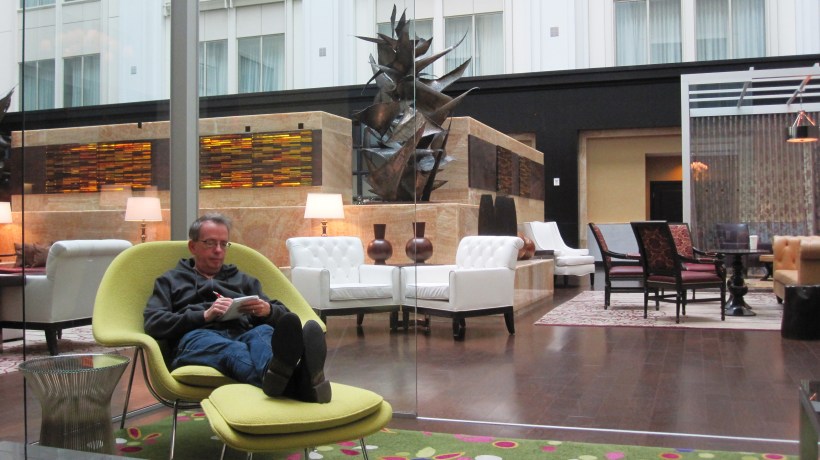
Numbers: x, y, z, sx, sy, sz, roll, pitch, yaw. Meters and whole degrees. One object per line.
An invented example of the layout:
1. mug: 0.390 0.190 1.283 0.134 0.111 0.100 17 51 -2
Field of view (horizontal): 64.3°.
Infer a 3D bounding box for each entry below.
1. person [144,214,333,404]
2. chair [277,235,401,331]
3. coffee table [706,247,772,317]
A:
1. person: -1.235 0.495 4.769 1.119 1.169 1.747 -1 1 -39
2. chair: -0.525 0.425 5.573 0.841 0.811 0.839 0 -3 -32
3. coffee table: 4.884 0.744 9.318 1.064 0.969 1.031 0 -5 0
